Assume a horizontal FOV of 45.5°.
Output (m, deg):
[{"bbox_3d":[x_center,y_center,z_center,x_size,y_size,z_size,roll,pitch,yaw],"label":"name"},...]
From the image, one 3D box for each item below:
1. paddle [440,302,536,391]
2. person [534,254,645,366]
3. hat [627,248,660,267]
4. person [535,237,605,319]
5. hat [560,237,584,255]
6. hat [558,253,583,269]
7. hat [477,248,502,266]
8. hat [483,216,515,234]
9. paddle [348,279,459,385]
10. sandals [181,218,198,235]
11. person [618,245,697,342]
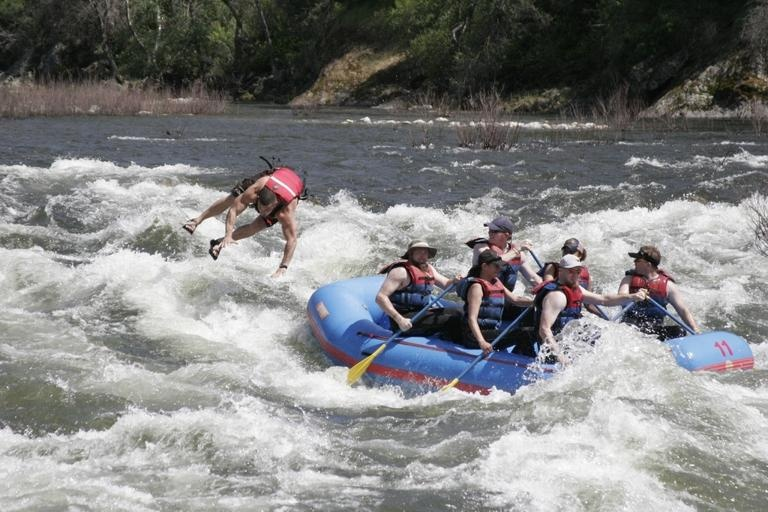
[{"bbox_3d":[1.596,1.409,13.965,0.289,1.755,0.089,32,-22,57],"label":"paddle"},{"bbox_3d":[2.874,0.671,13.801,1.324,1.442,0.695,-10,23,-26],"label":"person"},{"bbox_3d":[4.069,0.007,14.321,0.451,0.189,0.286,20,2,5],"label":"hat"},{"bbox_3d":[2.968,0.405,14.156,0.830,0.572,1.495,13,19,-17],"label":"person"},{"bbox_3d":[3.018,-0.152,14.671,0.241,0.230,0.386,-4,-14,25],"label":"hat"},{"bbox_3d":[2.749,0.063,13.649,0.297,0.172,0.227,-2,1,40],"label":"hat"},{"bbox_3d":[1.601,0.008,13.915,0.289,0.168,0.212,0,5,4],"label":"hat"},{"bbox_3d":[1.857,-0.498,14.779,0.459,0.259,0.340,8,-1,-3],"label":"hat"},{"bbox_3d":[0.327,1.237,14.357,0.288,2.345,0.158,53,4,22],"label":"paddle"},{"bbox_3d":[-3.523,-0.557,16.581,0.174,0.221,0.472,28,-1,-11],"label":"sandals"},{"bbox_3d":[4.421,0.653,14.825,1.233,1.981,0.771,6,-4,26],"label":"person"}]
